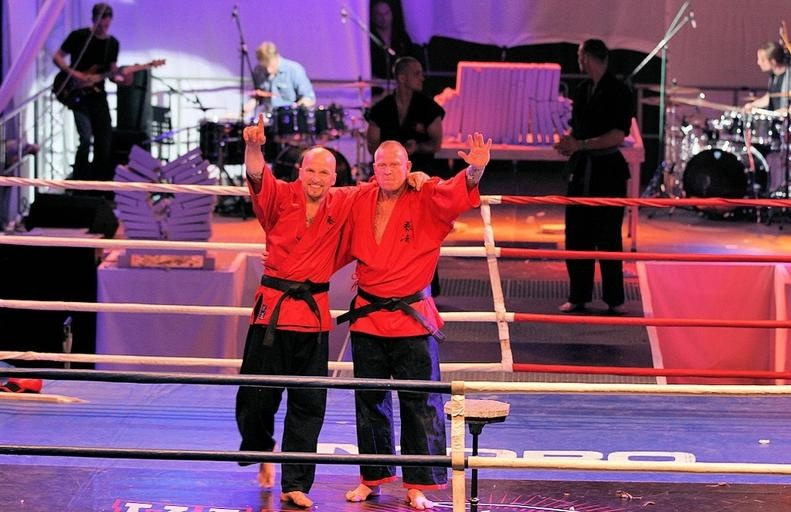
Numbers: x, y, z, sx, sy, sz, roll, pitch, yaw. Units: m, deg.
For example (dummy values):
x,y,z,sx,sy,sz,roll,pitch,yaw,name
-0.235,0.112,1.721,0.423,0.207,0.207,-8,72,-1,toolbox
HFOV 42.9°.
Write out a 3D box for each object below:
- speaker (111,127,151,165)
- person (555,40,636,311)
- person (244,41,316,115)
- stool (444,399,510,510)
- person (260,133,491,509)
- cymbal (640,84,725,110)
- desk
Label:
x,y,z,sx,sy,sz,roll,pitch,yaw,name
-2.831,-1.210,11.044,0.503,0.322,0.459,1,8,-8,speaker
1.614,-0.677,8.310,0.616,2.213,0.707,2,11,9,person
-1.403,-2.121,11.972,0.810,0.836,0.352,-1,11,-8,person
0.479,1.146,6.022,0.342,0.790,0.845,2,10,10,stool
0.078,0.388,6.234,0.835,2.287,0.637,1,11,6,person
3.348,-1.896,11.823,0.555,0.111,0.491,5,10,-21,cymbal
1.630,-0.894,10.076,2.400,1.336,1.434,3,8,18,desk
